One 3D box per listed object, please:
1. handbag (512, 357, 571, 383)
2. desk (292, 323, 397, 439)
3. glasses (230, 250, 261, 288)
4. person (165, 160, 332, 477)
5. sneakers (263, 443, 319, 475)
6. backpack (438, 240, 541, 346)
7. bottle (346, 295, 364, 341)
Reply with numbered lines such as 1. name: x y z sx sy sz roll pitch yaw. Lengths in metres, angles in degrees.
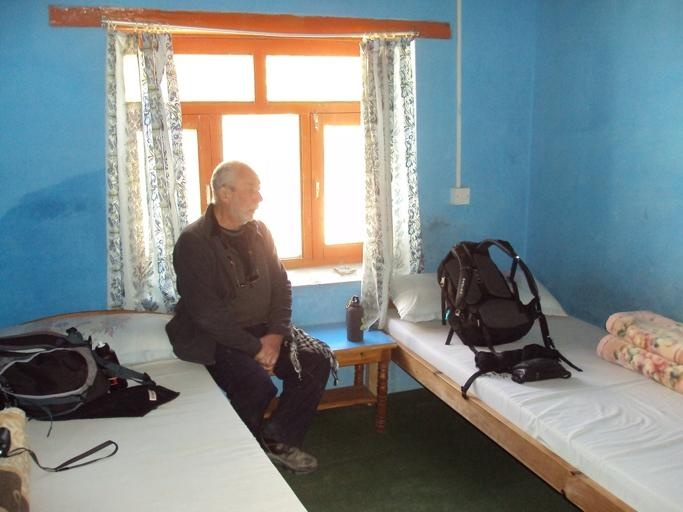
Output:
1. handbag: 0.991 0.568 2.741 0.166 0.062 0.148 -3 5 -6
2. desk: 0.008 0.709 3.477 0.665 0.698 0.524 -5 11 -26
3. glasses: -0.530 0.072 3.024 0.131 0.180 0.061 2 -12 -28
4. person: -0.521 0.331 3.104 0.876 1.667 0.672 8 14 34
5. sneakers: -0.264 1.037 2.893 0.242 0.075 0.156 19 11 3
6. backpack: 0.957 0.208 3.275 0.547 0.608 0.443 -7 -11 35
7. bottle: 0.084 0.391 3.402 0.108 0.260 0.132 -3 12 0
